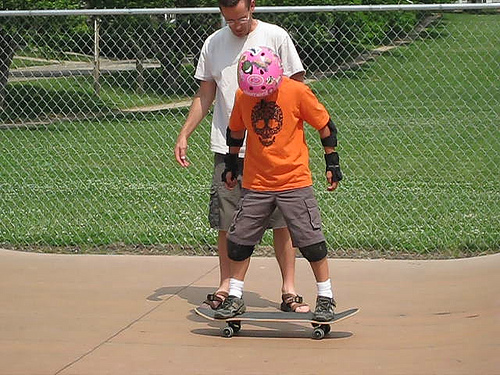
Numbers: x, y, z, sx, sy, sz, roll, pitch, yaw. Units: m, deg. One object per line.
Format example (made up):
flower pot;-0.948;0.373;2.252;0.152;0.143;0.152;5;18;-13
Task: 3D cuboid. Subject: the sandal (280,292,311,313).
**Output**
sandal;0.386;0.959;5.853;0.271;0.109;0.116;-1;1;38

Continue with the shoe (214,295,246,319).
shoe;-0.151;0.927;5.547;0.131;0.168;0.366;-3;3;29

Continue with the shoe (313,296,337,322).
shoe;0.567;0.926;5.421;0.163;0.163;0.144;1;11;4

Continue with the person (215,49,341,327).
person;0.228;0.000;5.549;0.916;2.112;0.715;1;11;3

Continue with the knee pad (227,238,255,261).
knee pad;-0.076;0.497;5.636;0.189;0.142;0.164;4;2;0

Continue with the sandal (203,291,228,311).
sandal;-0.262;0.917;5.761;0.085;0.077;0.225;-14;-1;39

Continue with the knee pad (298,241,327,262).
knee pad;0.495;0.497;5.523;0.221;0.142;0.151;-15;-5;1

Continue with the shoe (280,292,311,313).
shoe;0.372;0.949;5.833;0.263;0.108;0.119;-2;-1;44

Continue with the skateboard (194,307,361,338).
skateboard;0.220;1.068;5.569;0.976;0.151;0.257;0;3;6
